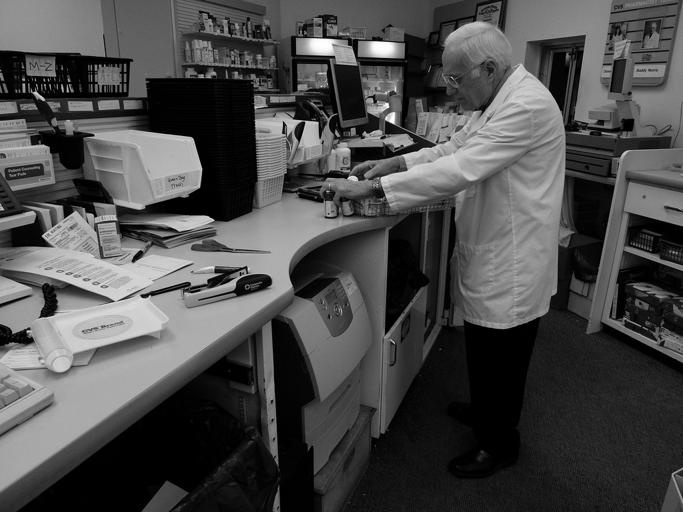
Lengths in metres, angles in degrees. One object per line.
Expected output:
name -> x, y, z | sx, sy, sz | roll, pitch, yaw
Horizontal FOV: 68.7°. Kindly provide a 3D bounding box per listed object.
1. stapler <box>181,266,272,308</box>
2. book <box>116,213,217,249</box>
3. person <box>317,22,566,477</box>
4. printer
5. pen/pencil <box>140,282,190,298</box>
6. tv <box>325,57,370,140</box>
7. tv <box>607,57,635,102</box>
stapler -> -0.320, 0.091, 1.387 | 0.200, 0.068, 0.039 | -14, 33, -31
book -> -0.634, -0.149, 1.872 | 0.264, 0.109, 0.412 | 15, 17, 27
person -> 0.487, -0.093, 2.229 | 0.869, 1.984, 0.896 | 10, 18, 28
printer -> -0.117, 0.430, 1.920 | 0.334, 0.697, 0.511 | 3, 14, 24
pen/pencil -> -0.491, 0.096, 1.387 | 0.079, 0.009, 0.014 | -21, 56, -35
tv -> 0.019, -0.889, 2.885 | 0.130, 0.420, 0.416 | 3, 17, 23
tv -> 1.921, -1.214, 3.431 | 0.088, 0.264, 0.155 | -5, 17, -11
